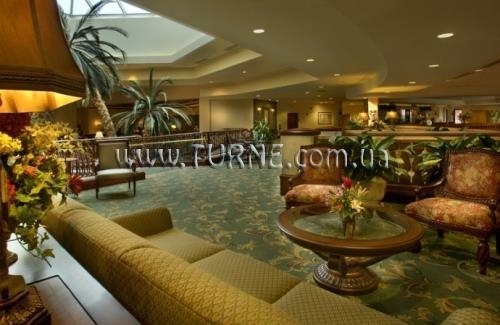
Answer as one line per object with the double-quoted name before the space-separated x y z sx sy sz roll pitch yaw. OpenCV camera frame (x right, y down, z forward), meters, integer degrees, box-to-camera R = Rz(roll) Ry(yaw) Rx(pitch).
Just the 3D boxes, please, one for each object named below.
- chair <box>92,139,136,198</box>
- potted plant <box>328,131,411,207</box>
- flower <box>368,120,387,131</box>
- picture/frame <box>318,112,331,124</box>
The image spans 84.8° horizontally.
"chair" -2.973 0.041 5.977 0.906 0.852 0.868 -8 22 -38
"potted plant" 1.894 0.212 4.538 1.370 0.837 1.160 4 0 -31
"flower" 6.019 -1.765 13.011 1.015 0.486 1.044 10 14 44
"picture/frame" 6.837 -4.173 25.482 1.553 1.152 0.091 0 11 -1
